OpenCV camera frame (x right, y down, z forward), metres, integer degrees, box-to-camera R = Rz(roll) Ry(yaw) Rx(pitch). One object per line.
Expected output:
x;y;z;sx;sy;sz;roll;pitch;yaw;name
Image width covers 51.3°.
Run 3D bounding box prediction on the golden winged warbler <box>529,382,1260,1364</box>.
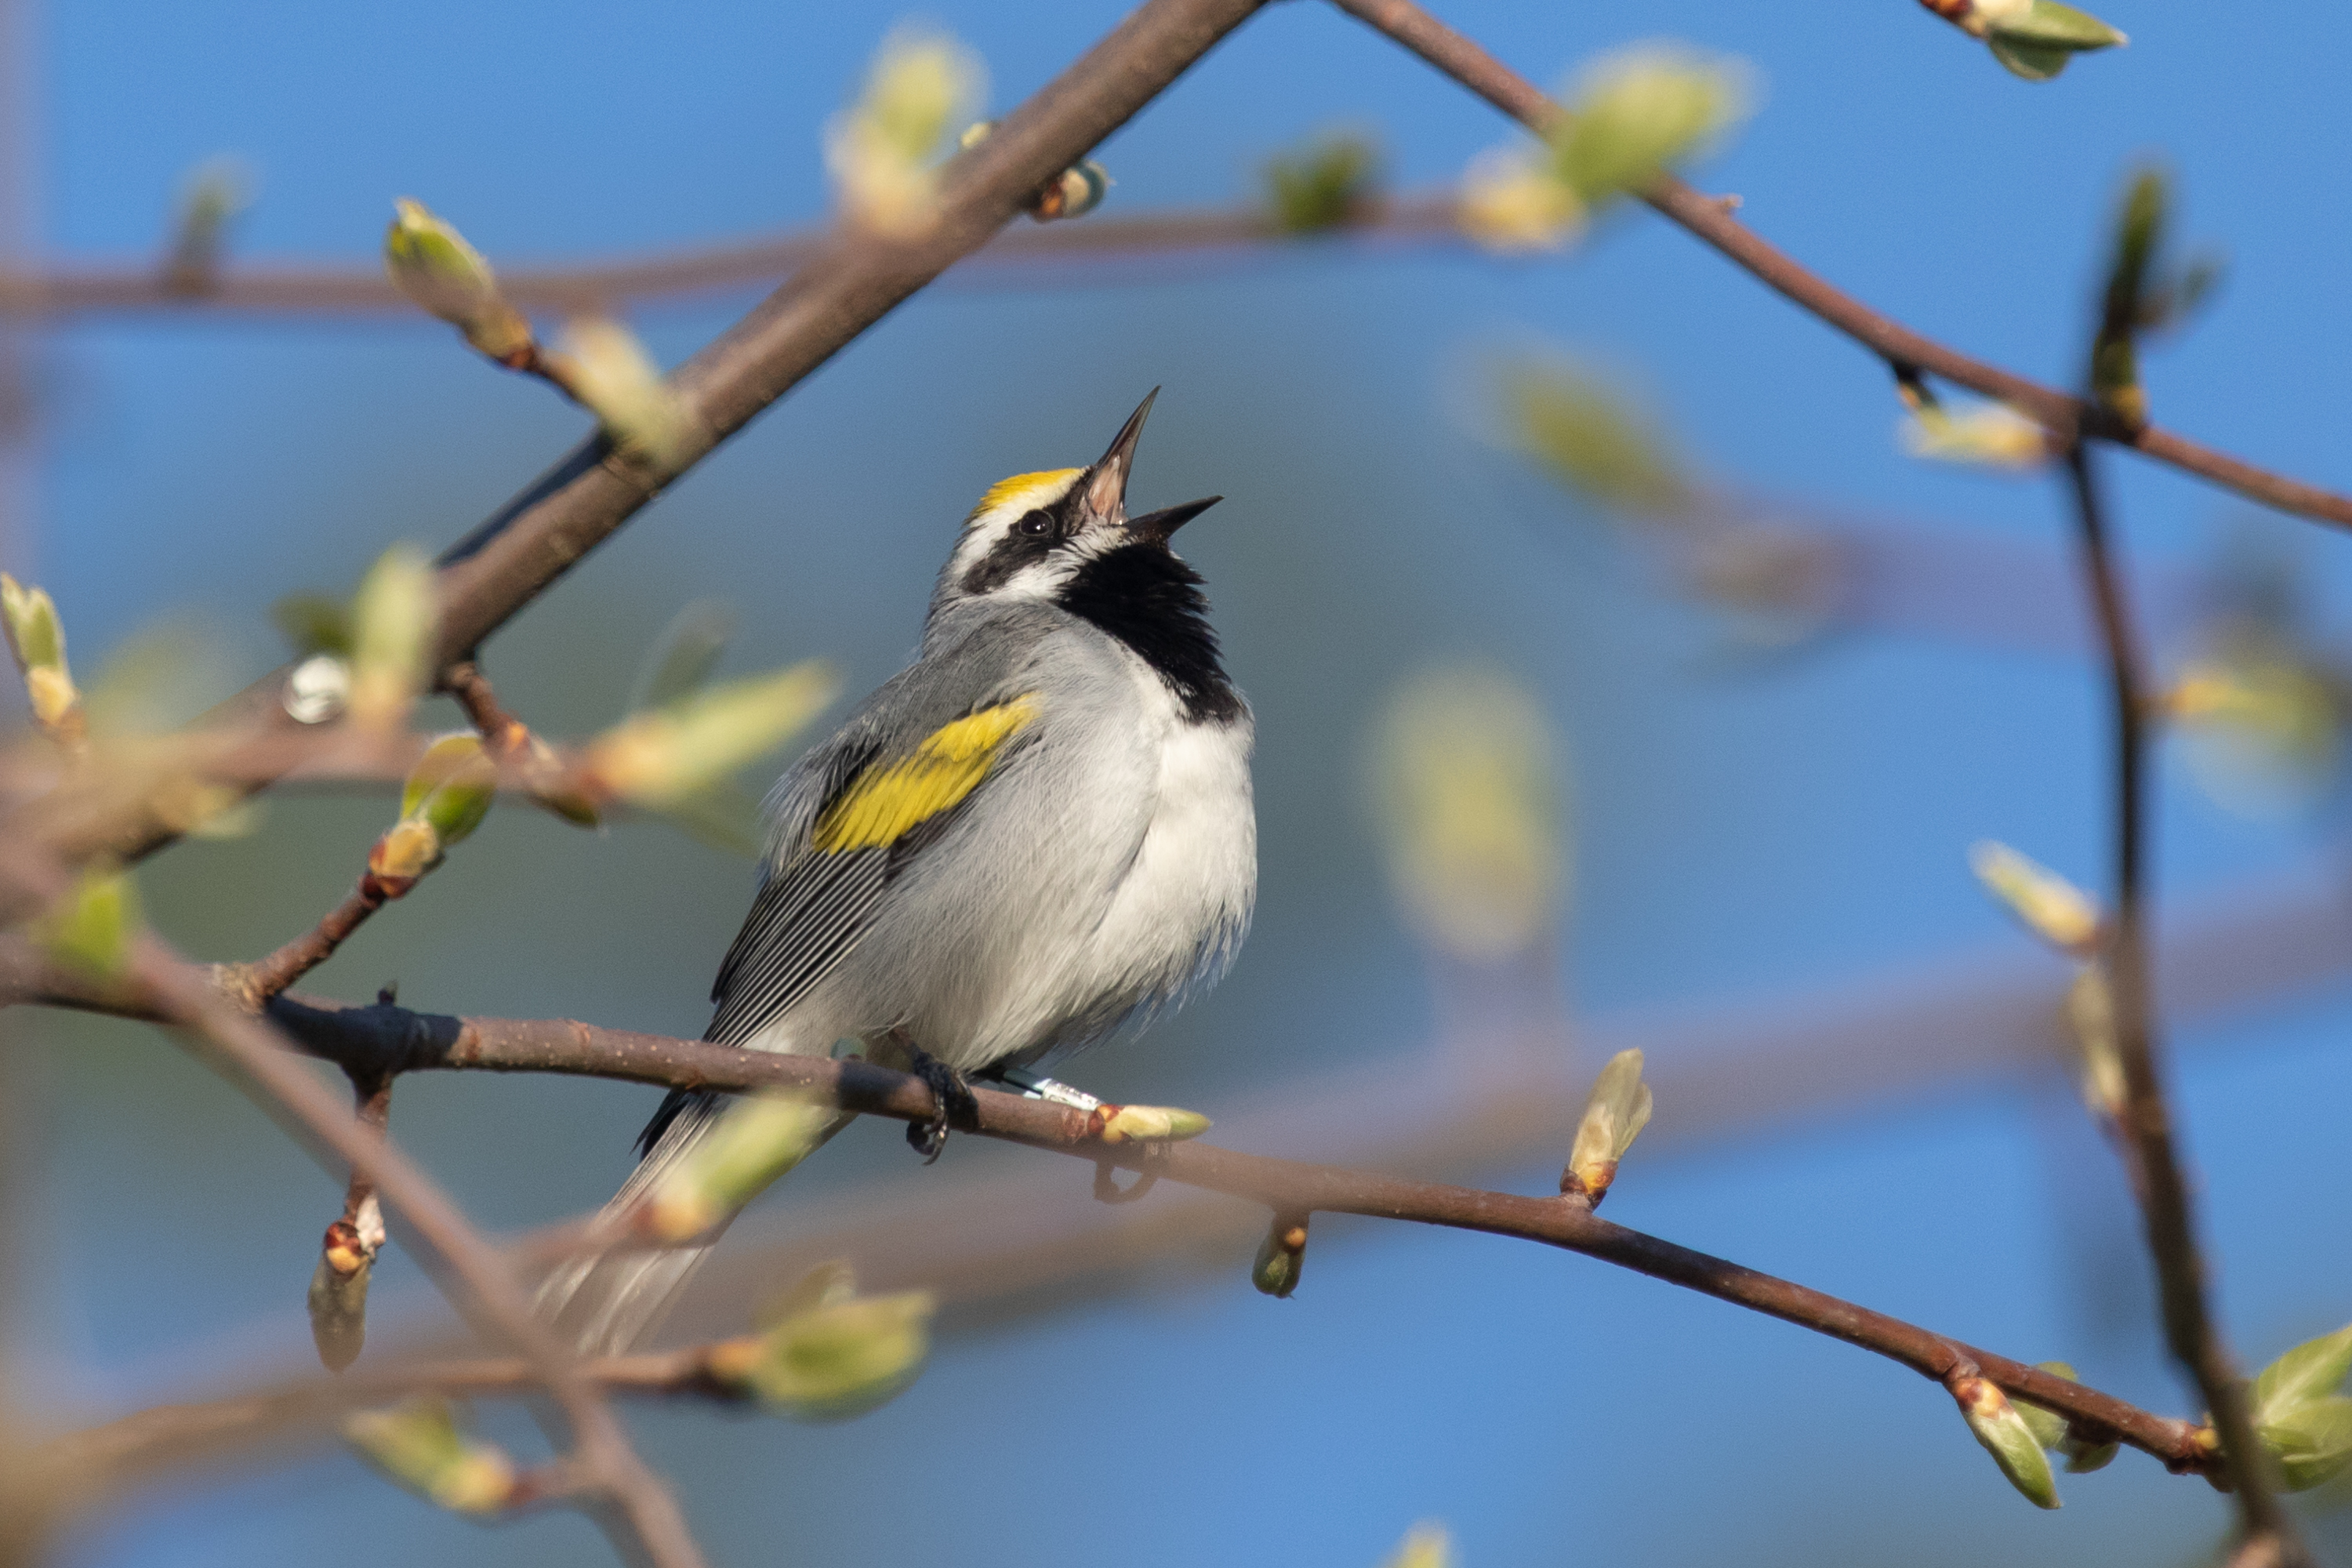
-0.773;0.219;6.700;2.048;1.934;1.243;-10;-10;5;golden winged warbler
